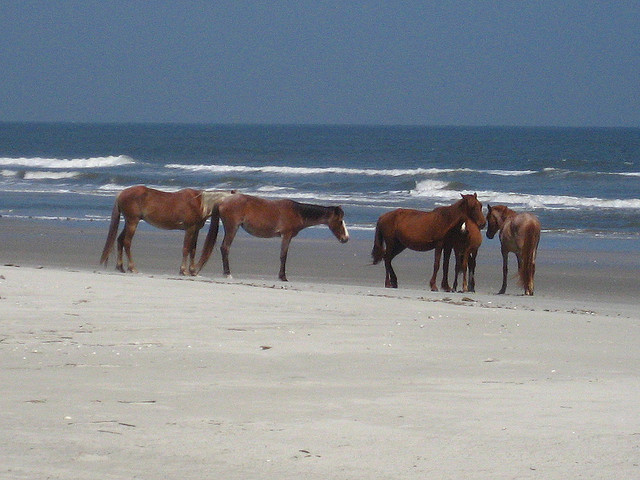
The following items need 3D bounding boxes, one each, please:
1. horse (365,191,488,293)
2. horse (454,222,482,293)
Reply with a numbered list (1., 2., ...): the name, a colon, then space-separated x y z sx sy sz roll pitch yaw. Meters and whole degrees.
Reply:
1. horse: 2.093 0.011 24.889 2.793 1.785 0.720 0 -1 39
2. horse: 2.841 0.294 24.812 0.498 1.353 0.912 3 4 6
